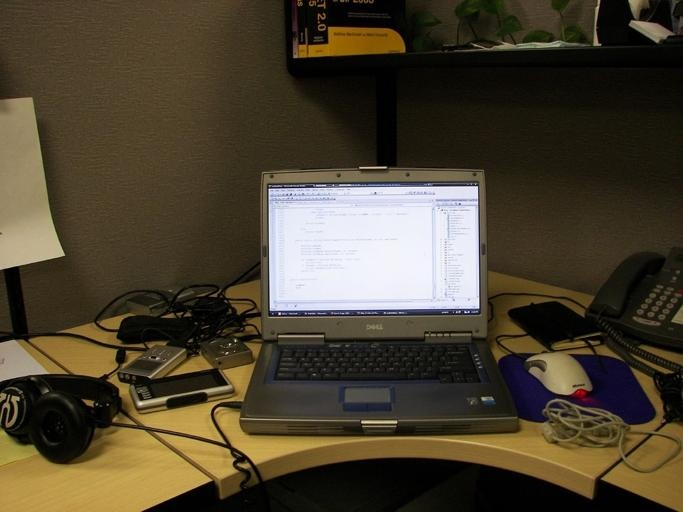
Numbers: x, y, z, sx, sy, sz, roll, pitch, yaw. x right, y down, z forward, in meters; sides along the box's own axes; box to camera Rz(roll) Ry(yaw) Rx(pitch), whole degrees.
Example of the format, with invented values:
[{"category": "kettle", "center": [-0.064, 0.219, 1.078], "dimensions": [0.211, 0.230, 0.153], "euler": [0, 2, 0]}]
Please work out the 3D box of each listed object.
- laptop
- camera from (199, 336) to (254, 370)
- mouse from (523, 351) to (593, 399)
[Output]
[{"category": "laptop", "center": [0.078, 0.088, 1.153], "dimensions": [0.682, 0.385, 0.497], "euler": [-1, 22, 1]}, {"category": "camera", "center": [-0.236, 0.195, 1.177], "dimensions": [0.084, 0.023, 0.100], "euler": [-14, 22, -27]}, {"category": "mouse", "center": [0.398, 0.213, 1.034], "dimensions": [0.074, 0.031, 0.098], "euler": [-6, 19, -13]}]
